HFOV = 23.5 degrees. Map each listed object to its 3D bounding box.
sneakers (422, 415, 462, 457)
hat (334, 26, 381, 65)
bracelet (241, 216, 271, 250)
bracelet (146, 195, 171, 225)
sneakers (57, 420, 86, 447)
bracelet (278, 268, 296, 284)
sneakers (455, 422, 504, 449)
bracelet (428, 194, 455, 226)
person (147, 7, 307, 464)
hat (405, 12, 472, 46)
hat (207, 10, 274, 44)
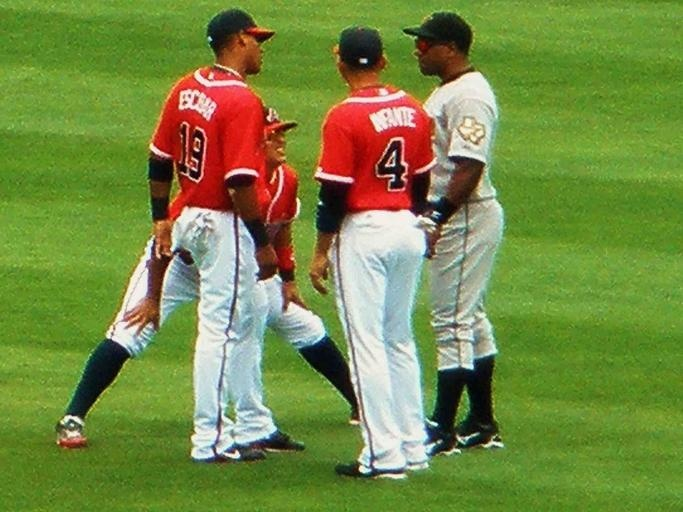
[{"bbox_3d":[0.764,1.399,12.561,0.220,0.282,0.115,-17,-15,-25],"label":"sneakers"},{"bbox_3d":[0.142,-1.561,12.139,0.335,0.309,0.141,4,6,0],"label":"hat"},{"bbox_3d":[-0.640,-0.168,12.109,0.082,0.271,0.071,-9,46,11],"label":"bracelet"},{"bbox_3d":[-1.359,-0.363,12.338,0.178,0.248,0.160,0,-10,-5],"label":"bracelet"},{"bbox_3d":[-2.033,1.339,12.306,0.210,0.147,0.207,0,1,-3],"label":"sneakers"},{"bbox_3d":[-0.411,0.146,12.511,0.100,0.106,0.102,0,-3,2],"label":"bracelet"},{"bbox_3d":[1.062,1.391,12.696,0.211,0.117,0.272,3,-3,-38],"label":"sneakers"},{"bbox_3d":[0.748,-0.349,12.330,0.206,0.196,0.049,35,2,-11],"label":"bracelet"},{"bbox_3d":[-0.888,-0.150,12.225,1.077,3.387,0.461,3,6,-2],"label":"person"},{"bbox_3d":[0.757,-1.749,12.535,0.407,0.197,0.256,4,11,-5],"label":"hat"},{"bbox_3d":[-0.779,-1.726,12.256,0.392,0.199,0.254,-20,4,-6],"label":"hat"}]
